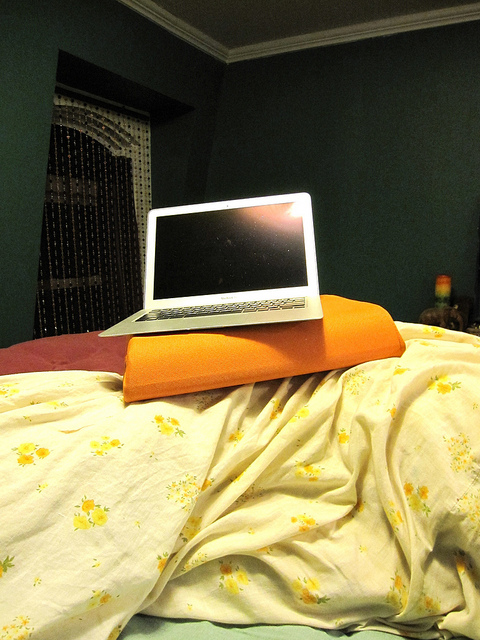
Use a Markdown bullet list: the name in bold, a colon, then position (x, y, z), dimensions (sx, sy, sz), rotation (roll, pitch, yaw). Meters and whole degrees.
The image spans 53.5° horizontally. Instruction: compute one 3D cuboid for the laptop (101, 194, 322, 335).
- **laptop**: position (-0.044, -0.150, 1.023), dimensions (0.410, 0.289, 0.349), rotation (-4, 3, 8)
